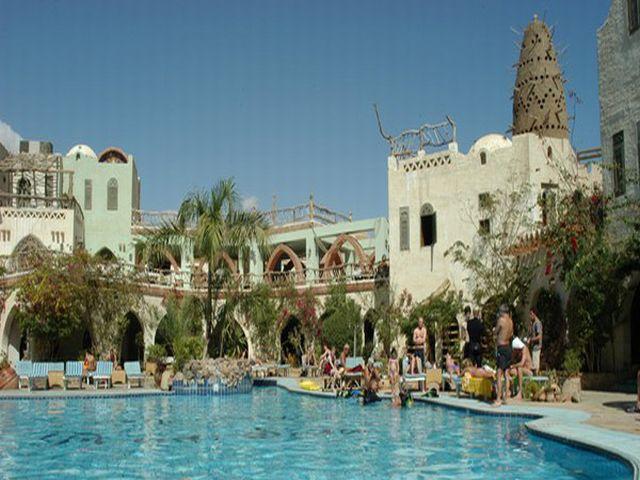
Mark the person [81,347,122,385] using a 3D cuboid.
[{"bbox_3d":[-7.782,4.453,31.686,0.835,1.345,1.673,1,-2,-5],"label":"person"}]
